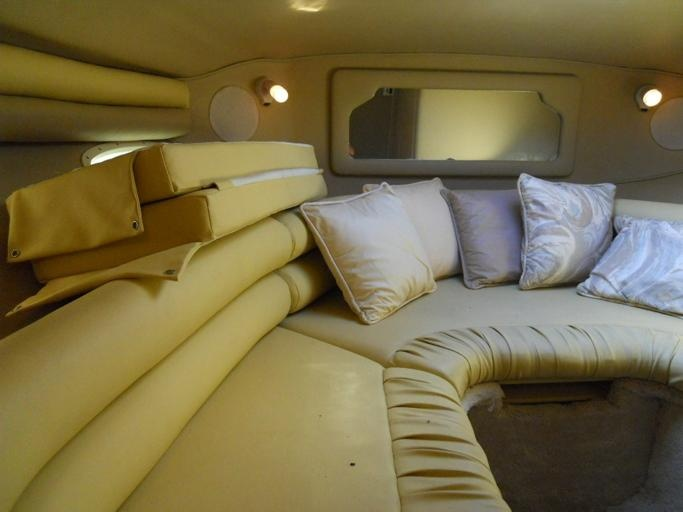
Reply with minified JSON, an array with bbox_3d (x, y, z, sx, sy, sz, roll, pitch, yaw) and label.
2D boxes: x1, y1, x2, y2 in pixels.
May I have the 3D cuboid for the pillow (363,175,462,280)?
[{"bbox_3d":[0.362,-0.093,2.792,0.511,0.517,0.149,-13,-7,-40],"label":"pillow"}]

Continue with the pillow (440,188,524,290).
[{"bbox_3d":[0.748,-0.083,2.714,0.474,0.465,0.144,-7,-14,-15],"label":"pillow"}]

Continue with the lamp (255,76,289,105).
[{"bbox_3d":[-0.444,-1.050,3.188,0.213,0.162,0.168,4,-2,-7],"label":"lamp"}]

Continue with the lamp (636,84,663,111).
[{"bbox_3d":[2.113,-1.086,3.430,0.163,0.163,0.039,-15,15,-24],"label":"lamp"}]

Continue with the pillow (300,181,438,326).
[{"bbox_3d":[0.064,0.004,2.305,0.597,0.582,0.177,-19,-7,-46],"label":"pillow"}]
